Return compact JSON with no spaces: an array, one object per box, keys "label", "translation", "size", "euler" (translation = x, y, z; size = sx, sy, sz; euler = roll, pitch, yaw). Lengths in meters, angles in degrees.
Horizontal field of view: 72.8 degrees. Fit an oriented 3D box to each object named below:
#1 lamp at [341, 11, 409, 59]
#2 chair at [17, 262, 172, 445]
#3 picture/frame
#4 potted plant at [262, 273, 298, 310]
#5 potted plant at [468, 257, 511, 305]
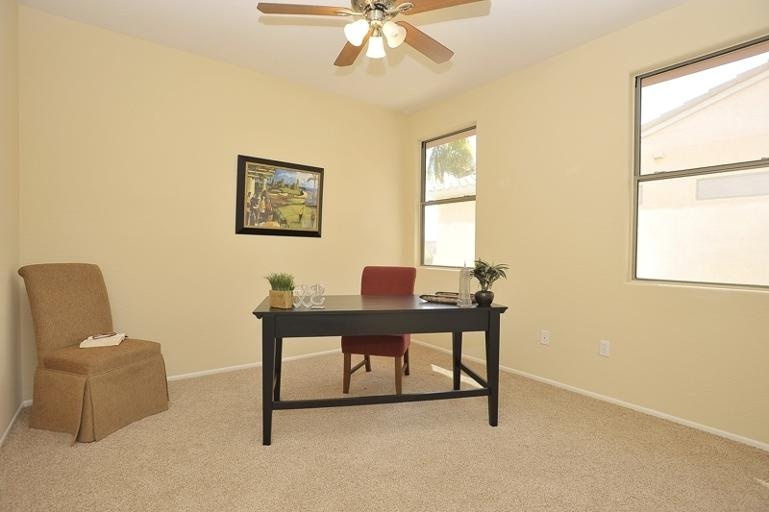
[{"label":"lamp","translation":[-0.057,-1.950,4.379],"size":[0.442,0.162,0.416],"euler":[14,4,-8]},{"label":"chair","translation":[-2.682,0.793,4.877],"size":[1.119,1.449,1.015],"euler":[5,6,37]},{"label":"picture/frame","translation":[-1.287,-0.701,6.100],"size":[1.053,0.901,0.044],"euler":[1,0,-34]},{"label":"potted plant","translation":[-0.957,0.331,4.696],"size":[0.329,0.382,0.272],"euler":[1,-6,-23]},{"label":"potted plant","translation":[1.023,0.281,5.055],"size":[0.477,0.478,0.480],"euler":[3,-7,-15]}]
